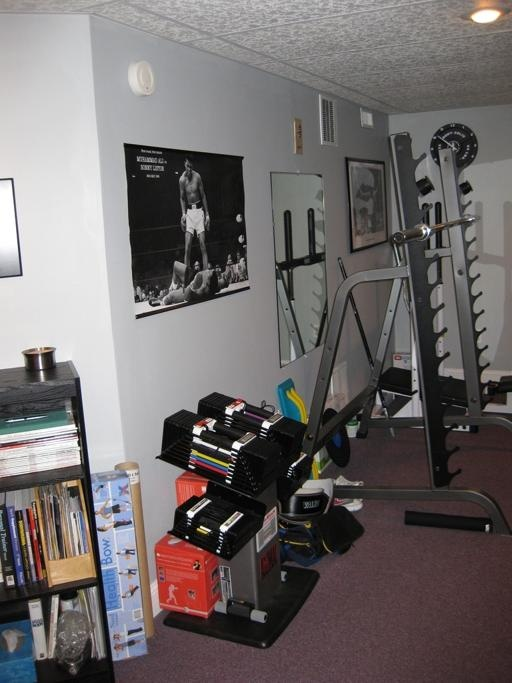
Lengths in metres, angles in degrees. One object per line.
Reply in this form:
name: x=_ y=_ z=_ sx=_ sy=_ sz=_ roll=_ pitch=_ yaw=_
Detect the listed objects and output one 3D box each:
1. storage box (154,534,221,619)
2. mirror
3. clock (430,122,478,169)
storage box: x=-0.284 y=0.926 z=2.176 sx=0.207 sy=0.320 sz=0.208 roll=5 pitch=16 yaw=15
mirror: x=0.246 y=-0.448 z=3.273 sx=0.057 sy=1.380 sz=0.971 roll=6 pitch=17 yaw=26
clock: x=1.044 y=-1.031 z=2.770 sx=0.224 sy=0.259 sz=0.320 roll=0 pitch=7 yaw=16
